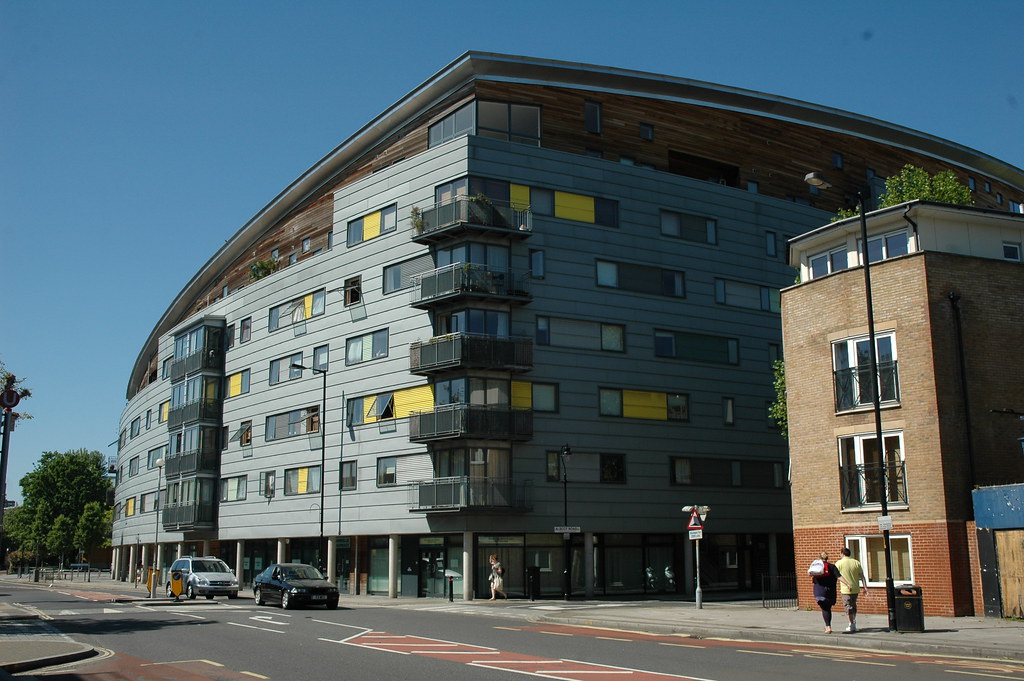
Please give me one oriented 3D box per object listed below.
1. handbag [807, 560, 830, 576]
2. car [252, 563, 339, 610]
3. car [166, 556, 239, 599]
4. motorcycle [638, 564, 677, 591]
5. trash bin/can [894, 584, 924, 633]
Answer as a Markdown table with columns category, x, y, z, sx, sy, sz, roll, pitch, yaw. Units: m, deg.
| category | x | y | z | sx | sy | sz | roll | pitch | yaw |
| --- | --- | --- | --- | --- | --- | --- | --- | --- | --- |
| handbag | 10.458 | 7.726 | 37.153 | 0.620 | 0.562 | 0.571 | 0 | -19 | -1 |
| car | -9.263 | 10.485 | 46.621 | 1.915 | 2.009 | 3.460 | 15 | -24 | -38 |
| car | -14.831 | 11.358 | 52.590 | 3.047 | 2.064 | 3.212 | 4 | -19 | -14 |
| motorcycle | 7.728 | 12.401 | 56.970 | 1.957 | 1.317 | 0.479 | 13 | -25 | -35 |
| trash bin/can | 13.295 | 8.986 | 36.515 | 0.924 | 1.546 | 0.532 | -4 | -21 | 10 |
